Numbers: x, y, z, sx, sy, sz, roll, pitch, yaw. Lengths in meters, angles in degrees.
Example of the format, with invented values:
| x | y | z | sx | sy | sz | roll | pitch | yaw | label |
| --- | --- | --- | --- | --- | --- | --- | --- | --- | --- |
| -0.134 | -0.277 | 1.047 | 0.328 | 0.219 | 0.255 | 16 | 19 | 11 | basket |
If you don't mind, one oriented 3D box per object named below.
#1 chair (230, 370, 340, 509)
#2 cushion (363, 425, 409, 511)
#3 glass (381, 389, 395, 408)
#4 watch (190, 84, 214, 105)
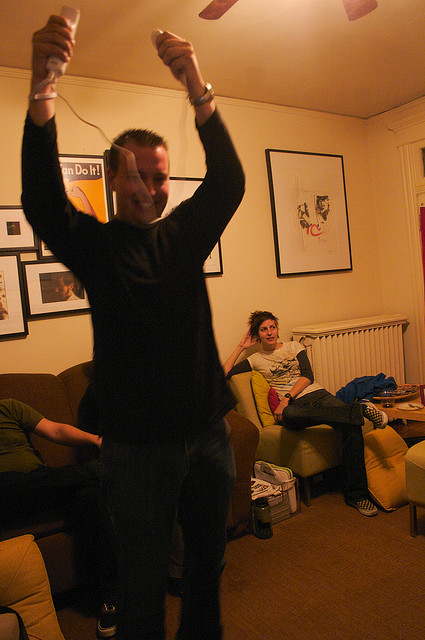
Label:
| x | y | z | sx | sy | sz | roll | pitch | yaw | label |
| --- | --- | --- | --- | --- | --- | --- | --- | --- | --- |
| 0.318 | 0.420 | 1.938 | 0.324 | 0.444 | 0.415 | -10 | 8 | -30 | chair |
| 0.615 | 0.555 | 1.752 | 0.060 | 0.268 | 0.273 | -8 | -27 | 14 | cushion |
| 0.748 | 0.334 | 2.023 | 0.056 | 0.068 | 0.058 | -2 | -8 | 31 | glass |
| -0.007 | -0.129 | 0.270 | 0.010 | 0.008 | 0.012 | 15 | 56 | 34 | watch |
